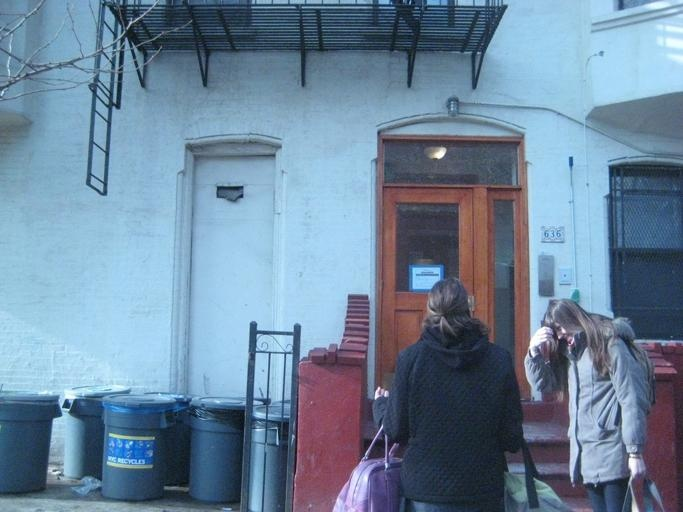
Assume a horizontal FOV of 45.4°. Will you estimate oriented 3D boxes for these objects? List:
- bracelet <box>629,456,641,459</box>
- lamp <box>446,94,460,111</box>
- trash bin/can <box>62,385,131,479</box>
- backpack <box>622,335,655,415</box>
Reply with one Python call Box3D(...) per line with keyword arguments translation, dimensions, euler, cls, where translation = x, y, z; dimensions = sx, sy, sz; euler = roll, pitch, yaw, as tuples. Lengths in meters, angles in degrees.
Box3D(translation=(2.540, 1.737, 7.068), dimensions=(0.080, 0.031, 0.027), euler=(0, -6, -5), cls="bracelet")
Box3D(translation=(1.400, -1.946, 10.367), dimensions=(0.149, 0.205, 0.083), euler=(5, 0, 23), cls="lamp")
Box3D(translation=(-2.609, 2.072, 9.544), dimensions=(0.957, 1.125, 0.790), euler=(6, -8, -41), cls="trash bin/can")
Box3D(translation=(2.738, 1.025, 7.413), dimensions=(0.163, 0.561, 0.430), euler=(-7, -9, 13), cls="backpack")
